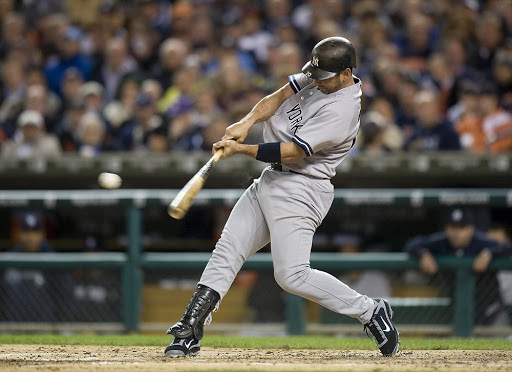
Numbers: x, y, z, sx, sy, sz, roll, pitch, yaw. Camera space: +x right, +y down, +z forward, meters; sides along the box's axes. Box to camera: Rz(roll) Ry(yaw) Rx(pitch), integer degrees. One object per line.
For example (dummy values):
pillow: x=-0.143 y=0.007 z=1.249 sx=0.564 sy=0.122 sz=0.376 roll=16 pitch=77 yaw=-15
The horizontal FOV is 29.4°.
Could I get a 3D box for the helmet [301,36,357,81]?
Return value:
helmet: x=0.607 y=-1.078 z=7.990 sx=0.524 sy=0.247 sz=0.367 roll=-15 pitch=32 yaw=-18
